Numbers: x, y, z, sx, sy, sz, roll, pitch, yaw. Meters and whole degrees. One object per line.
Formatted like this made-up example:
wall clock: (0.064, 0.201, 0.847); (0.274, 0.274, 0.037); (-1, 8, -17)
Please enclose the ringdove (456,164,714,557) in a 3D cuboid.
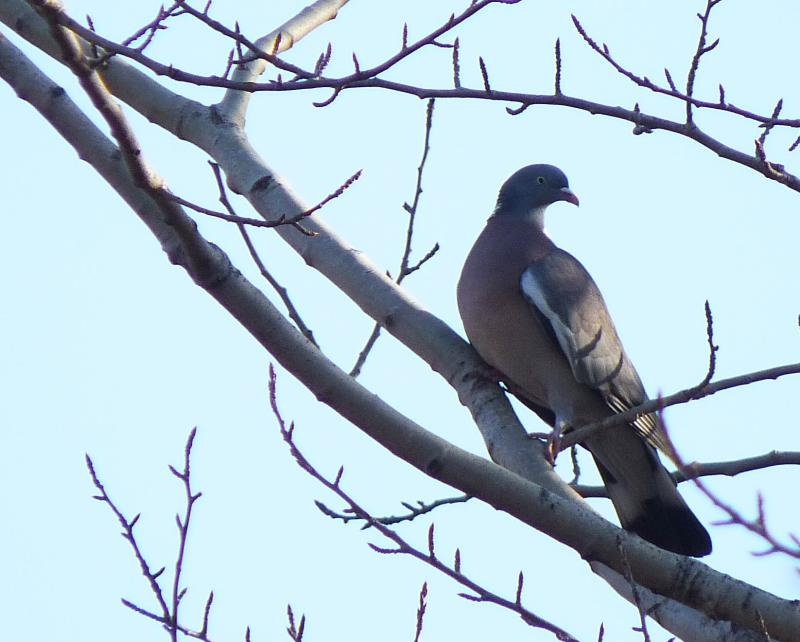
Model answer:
ringdove: (0.721, 0.368, 6.454); (1.298, 1.409, 0.504); (26, -34, 5)
